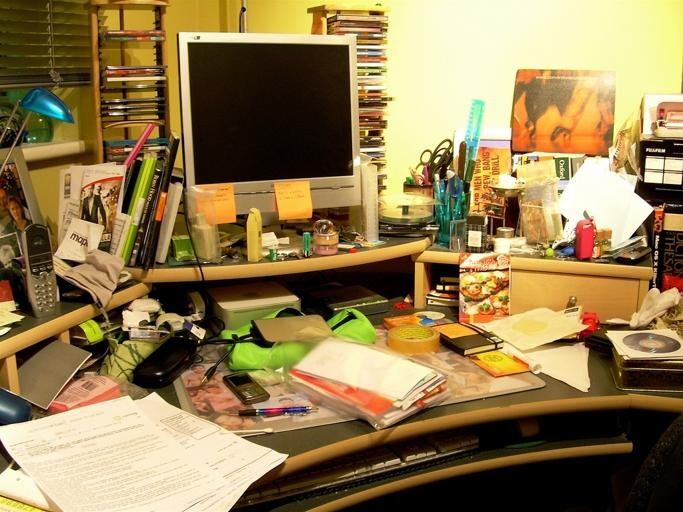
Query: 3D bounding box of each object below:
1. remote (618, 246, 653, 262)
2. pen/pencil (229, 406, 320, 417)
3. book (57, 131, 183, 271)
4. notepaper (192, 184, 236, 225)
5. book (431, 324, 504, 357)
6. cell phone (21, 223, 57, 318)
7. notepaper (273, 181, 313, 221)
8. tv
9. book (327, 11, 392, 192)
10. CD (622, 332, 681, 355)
[{"bbox_3d":[0.942,-0.009,1.599,0.056,0.021,0.098,10,27,44],"label":"remote"},{"bbox_3d":[-0.151,0.364,1.158,0.154,0.014,0.015,-1,-1,-4],"label":"pen/pencil"},{"bbox_3d":[-0.581,-0.163,1.422,0.088,0.315,0.317,11,6,-24],"label":"book"},{"bbox_3d":[-0.372,-0.158,1.495,0.126,0.113,0.064,-4,15,-14],"label":"notepaper"},{"bbox_3d":[0.366,0.251,1.447,0.165,0.026,0.128,-6,15,-24],"label":"book"},{"bbox_3d":[-0.735,0.032,1.221,0.067,0.222,0.090,-10,17,-31],"label":"cell phone"},{"bbox_3d":[-0.145,-0.175,1.587,0.130,0.117,0.032,-11,6,-26],"label":"notepaper"},{"bbox_3d":[-0.228,-0.411,1.549,0.646,0.539,0.077,-6,16,-22],"label":"tv"},{"bbox_3d":[0.073,-0.569,1.903,0.272,0.635,0.207,-6,23,-25],"label":"book"},{"bbox_3d":[0.836,0.235,1.342,0.161,0.007,0.122,-11,18,-36],"label":"CD"}]
